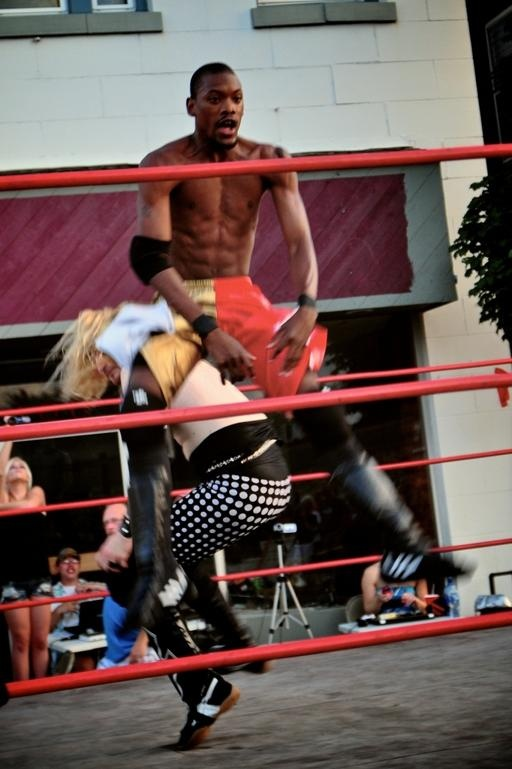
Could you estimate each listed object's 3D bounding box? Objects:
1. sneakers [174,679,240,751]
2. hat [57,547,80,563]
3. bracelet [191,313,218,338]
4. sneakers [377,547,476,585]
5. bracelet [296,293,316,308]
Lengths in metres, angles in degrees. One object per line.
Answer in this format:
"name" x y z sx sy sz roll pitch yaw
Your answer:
"sneakers" -0.105 0.728 1.594 0.190 0.086 0.068 -48 -10 -32
"hat" -0.975 0.881 3.637 0.084 0.058 0.078 5 -11 -8
"bracelet" -0.108 -0.121 1.483 0.054 0.052 0.027 -3 4 -3
"sneakers" 0.369 0.372 1.494 0.148 0.089 0.047 -1 19 -25
"bracelet" 0.119 -0.190 1.649 0.038 0.035 0.034 13 -18 -42
